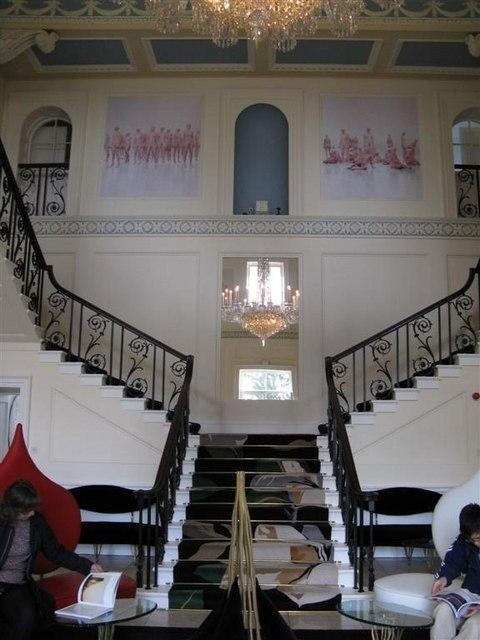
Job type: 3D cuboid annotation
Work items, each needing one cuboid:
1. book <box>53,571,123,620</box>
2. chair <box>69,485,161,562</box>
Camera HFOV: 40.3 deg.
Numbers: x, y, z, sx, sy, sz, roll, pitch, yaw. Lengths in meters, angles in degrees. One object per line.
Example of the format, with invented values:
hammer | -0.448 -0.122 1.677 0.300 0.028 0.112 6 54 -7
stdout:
book | -0.802 1.491 3.526 0.226 0.145 0.229 -5 -10 31
chair | -1.147 1.859 5.963 1.083 0.557 0.389 -2 -12 9
